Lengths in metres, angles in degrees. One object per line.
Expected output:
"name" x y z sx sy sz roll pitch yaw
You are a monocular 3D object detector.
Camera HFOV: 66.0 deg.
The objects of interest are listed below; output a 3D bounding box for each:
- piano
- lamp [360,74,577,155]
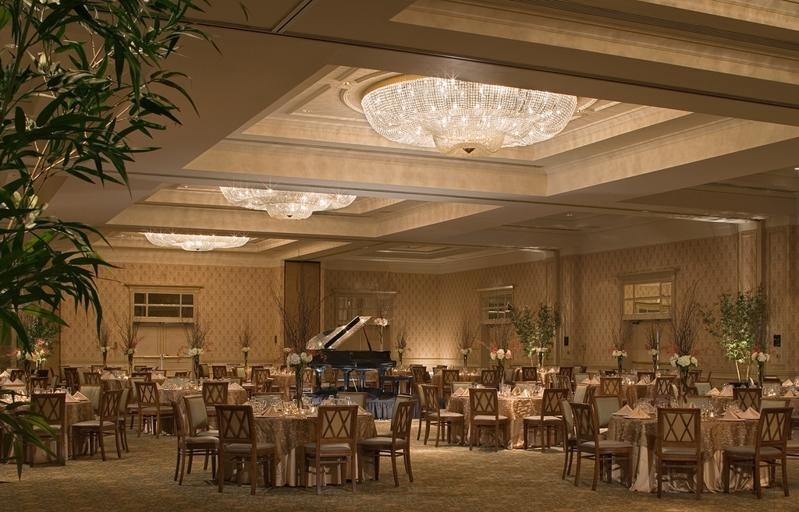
"piano" -1.381 2.825 17.540 2.359 2.638 2.938 5 -11 -25
"lamp" 0.817 -1.829 7.862 2.609 0.970 0.987 -2 0 4
